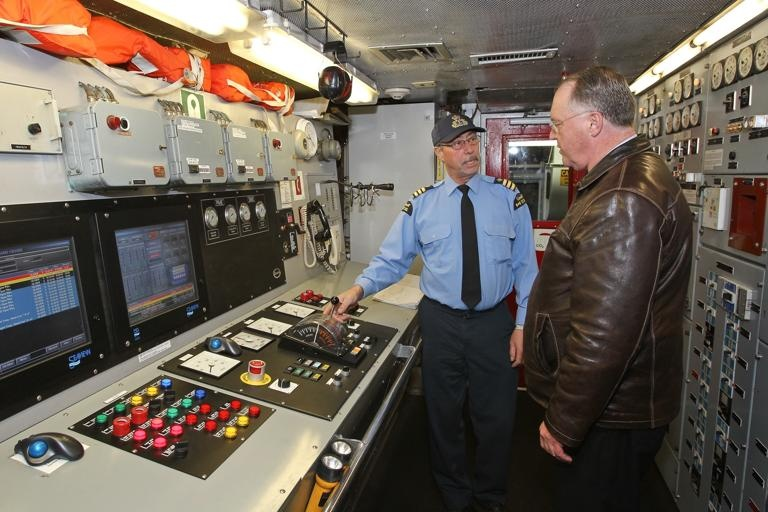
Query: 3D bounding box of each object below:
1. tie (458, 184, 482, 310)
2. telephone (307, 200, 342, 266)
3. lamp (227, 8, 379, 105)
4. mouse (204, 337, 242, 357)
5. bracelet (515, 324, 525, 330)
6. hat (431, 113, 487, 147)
[{"bbox_3d":[0.490,-0.056,2.643,0.113,0.676,0.266,-2,11,11],"label":"tie"},{"bbox_3d":[-0.462,-0.161,3.480,0.156,0.431,0.244,-21,-16,27],"label":"telephone"},{"bbox_3d":[-0.519,-1.086,2.520,0.388,0.268,0.792,2,12,27],"label":"lamp"},{"bbox_3d":[-0.819,0.462,2.327,0.190,0.081,0.078,2,12,25],"label":"mouse"},{"bbox_3d":[0.775,0.407,2.630,0.046,0.031,0.046,1,-5,2],"label":"bracelet"},{"bbox_3d":[0.395,-0.699,2.704,0.186,0.144,0.247,-30,9,-21],"label":"hat"}]
